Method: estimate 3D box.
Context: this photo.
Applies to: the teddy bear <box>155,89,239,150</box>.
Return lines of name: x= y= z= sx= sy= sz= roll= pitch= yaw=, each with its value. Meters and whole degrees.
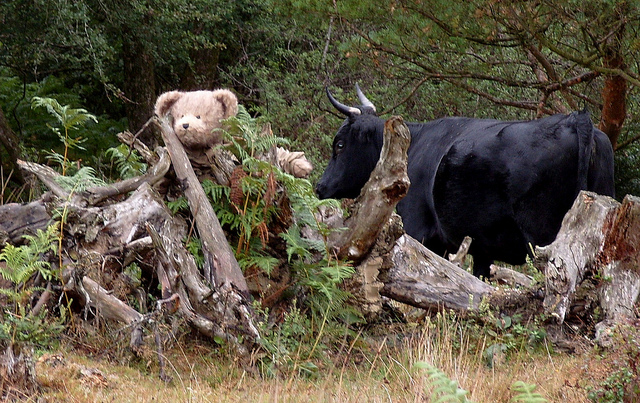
teddy bear: x=-1.781 y=-1.096 z=10.277 sx=1.185 sy=1.007 sz=0.760 roll=3 pitch=9 yaw=15

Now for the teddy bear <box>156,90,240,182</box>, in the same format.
teddy bear: x=-1.623 y=-0.985 z=10.348 sx=0.875 sy=1.496 sz=1.568 roll=3 pitch=2 yaw=2
